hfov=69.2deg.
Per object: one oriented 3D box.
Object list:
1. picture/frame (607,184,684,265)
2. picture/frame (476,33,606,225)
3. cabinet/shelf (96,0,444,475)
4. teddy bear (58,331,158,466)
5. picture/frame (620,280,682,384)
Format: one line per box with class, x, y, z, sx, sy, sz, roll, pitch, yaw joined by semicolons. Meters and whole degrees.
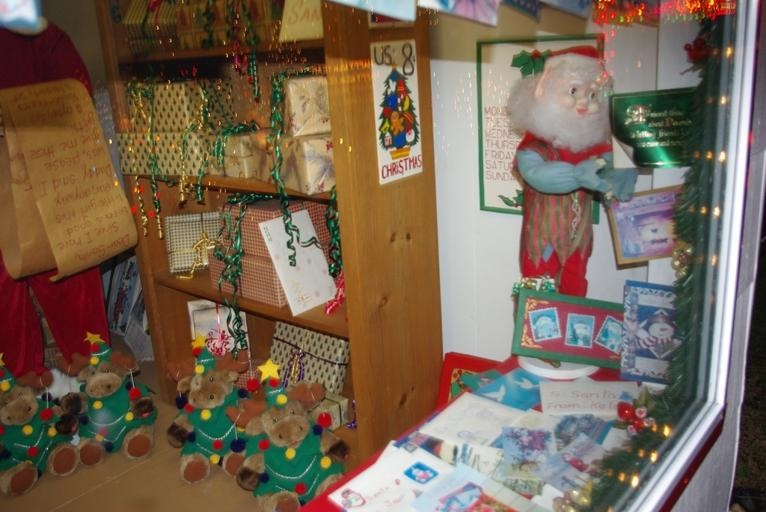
picture/frame;0.701;-0.089;1.474;0.203;0.199;0.023;3;25;43
picture/frame;0.426;-0.348;1.468;0.017;0.493;0.339;-23;30;-33
cabinet/shelf;-0.423;-0.088;2.013;1.189;1.620;0.629;13;22;38
teddy bear;-1.117;0.567;2.288;0.355;0.512;0.330;-6;16;-8
picture/frame;0.718;0.214;1.504;0.146;0.268;0.088;8;19;27
